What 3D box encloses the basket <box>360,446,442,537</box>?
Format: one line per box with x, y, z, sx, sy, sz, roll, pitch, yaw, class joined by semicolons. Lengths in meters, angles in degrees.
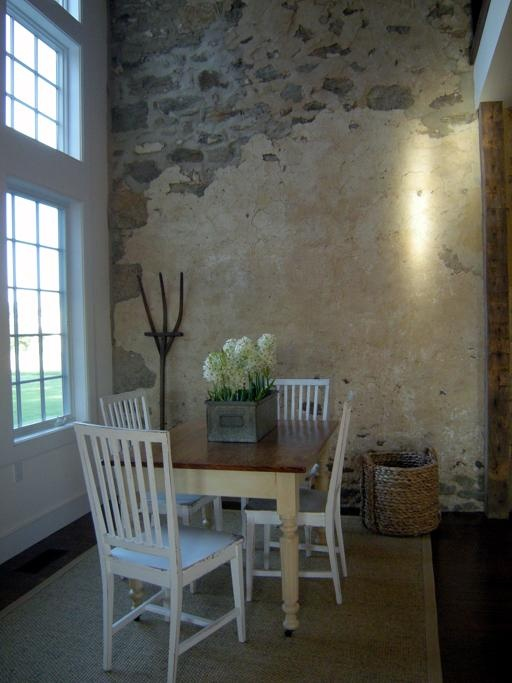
0.861;0.891;3.584;0.440;0.397;0.434;-3;5;23;basket

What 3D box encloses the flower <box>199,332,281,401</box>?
-0.079;0.129;2.838;0.334;0.331;0.290;5;19;20;flower

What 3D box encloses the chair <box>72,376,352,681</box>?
-0.275;0.725;2.572;1.083;0.942;1.150;1;4;35;chair
